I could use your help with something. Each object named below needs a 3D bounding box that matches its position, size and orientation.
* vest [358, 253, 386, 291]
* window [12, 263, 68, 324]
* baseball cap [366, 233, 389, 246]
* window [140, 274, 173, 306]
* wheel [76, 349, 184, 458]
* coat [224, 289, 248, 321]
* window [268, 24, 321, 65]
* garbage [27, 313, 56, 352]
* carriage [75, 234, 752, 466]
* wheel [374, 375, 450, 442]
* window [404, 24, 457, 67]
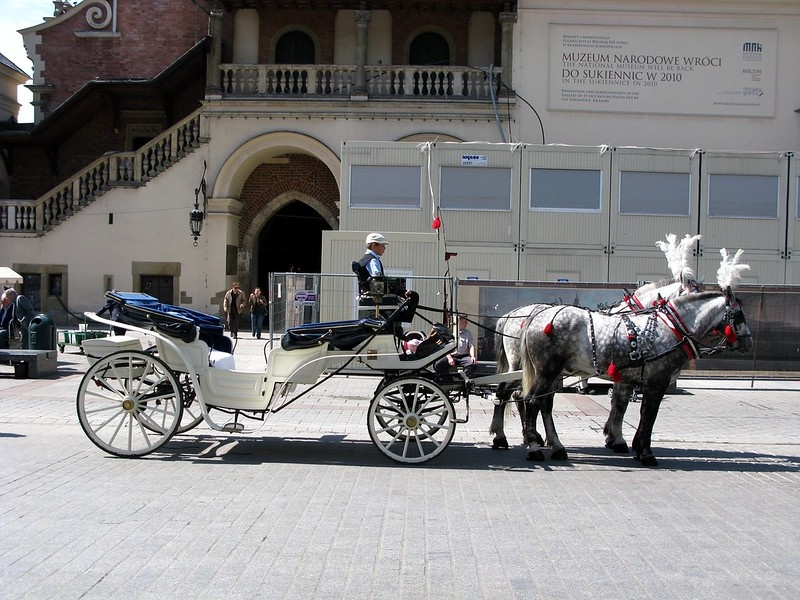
[{"bbox_3d":[-0.407,-0.494,18.908,0.502,0.782,0.903,-1,2,-10],"label":"vest"},{"bbox_3d":[-10.889,-0.178,34.614,1.018,1.719,1.894,-6,-6,43],"label":"window"},{"bbox_3d":[-0.348,-0.998,19.102,0.383,0.183,0.287,-2,4,-14],"label":"baseball cap"},{"bbox_3d":[-6.387,-0.345,30.570,0.931,0.881,0.348,0,-1,-12],"label":"window"},{"bbox_3d":[-4.192,1.642,18.343,1.208,1.203,0.192,38,3,1],"label":"wheel"},{"bbox_3d":[-4.545,0.100,32.111,0.913,1.084,0.633,-1,-7,-3],"label":"coat"},{"bbox_3d":[-3.293,-7.991,36.269,1.829,1.799,0.075,0,1,-9],"label":"window"},{"bbox_3d":[-7.700,0.701,24.964,0.674,0.996,0.687,0,-3,-21],"label":"garbage"},{"bbox_3d":[0.346,0.955,19.095,10.734,3.762,2.694,0,-6,5],"label":"carriage"},{"bbox_3d":[0.203,1.740,18.195,1.312,1.162,0.755,2,13,1],"label":"wheel"},{"bbox_3d":[0.950,-7.916,36.062,1.898,1.869,0.649,0,0,-8],"label":"window"}]
